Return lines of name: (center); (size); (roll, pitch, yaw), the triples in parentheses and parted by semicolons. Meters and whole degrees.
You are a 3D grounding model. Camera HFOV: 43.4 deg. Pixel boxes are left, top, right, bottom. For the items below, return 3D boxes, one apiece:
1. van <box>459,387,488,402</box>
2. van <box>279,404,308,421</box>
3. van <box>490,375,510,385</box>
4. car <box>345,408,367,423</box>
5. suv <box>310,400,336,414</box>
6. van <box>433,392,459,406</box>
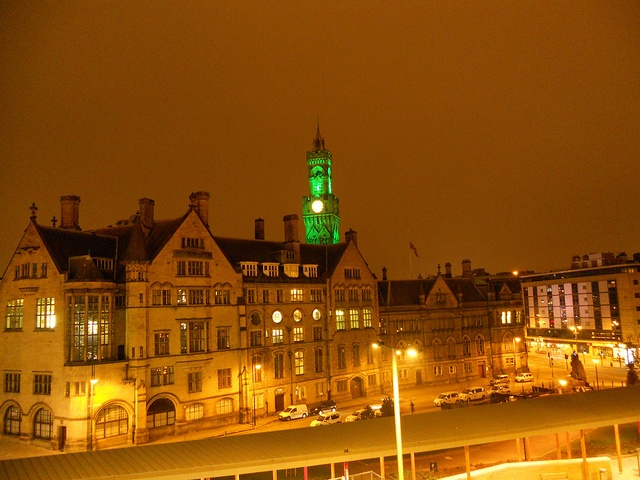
van: (21.467, 21.870, 114.468); (3.332, 1.817, 1.817); (5, -11, -22)
van: (-3.656, 22.793, 106.912); (2.889, 1.403, 1.817); (4, -8, -27)
van: (27.651, 21.280, 123.264); (2.453, 1.380, 1.313); (4, -9, -22)
car: (4.524, 22.897, 105.498); (2.410, 1.299, 3.667); (4, 10, 1)
suv: (0.258, 22.647, 109.207); (2.564, 1.334, 1.610); (6, -15, -26)
van: (17.532, 22.097, 112.230); (2.803, 1.520, 1.661); (3, -9, -23)
